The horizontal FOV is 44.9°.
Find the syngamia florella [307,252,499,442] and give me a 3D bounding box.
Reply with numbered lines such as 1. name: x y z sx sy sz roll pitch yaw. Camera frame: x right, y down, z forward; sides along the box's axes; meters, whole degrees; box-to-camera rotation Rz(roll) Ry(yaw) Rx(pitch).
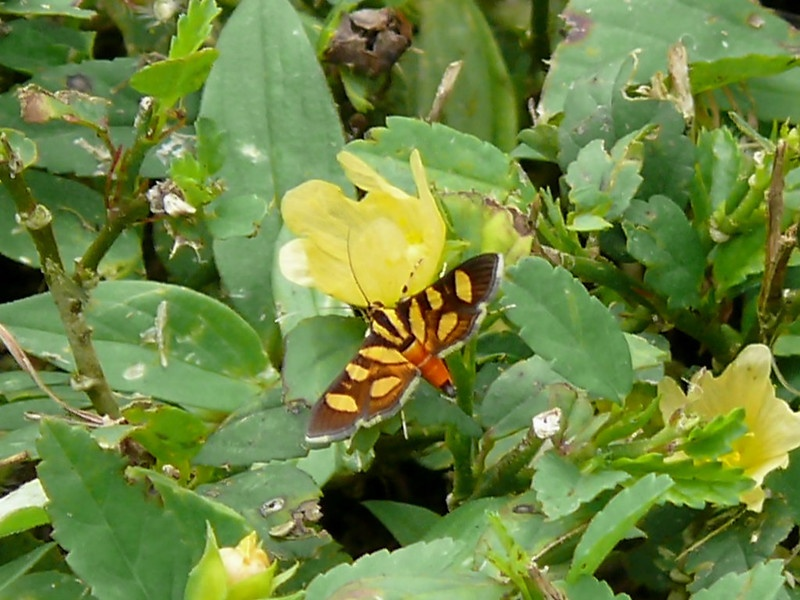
1. syngamia florella: -0.004 0.027 0.717 0.164 0.109 0.078 -19 43 -34

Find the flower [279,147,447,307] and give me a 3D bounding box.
1. flower: -0.027 -0.060 0.823 0.138 0.118 0.148 21 41 38
